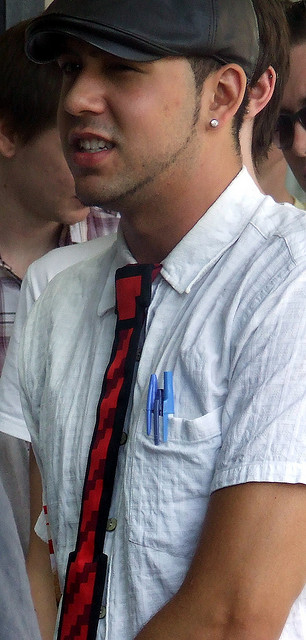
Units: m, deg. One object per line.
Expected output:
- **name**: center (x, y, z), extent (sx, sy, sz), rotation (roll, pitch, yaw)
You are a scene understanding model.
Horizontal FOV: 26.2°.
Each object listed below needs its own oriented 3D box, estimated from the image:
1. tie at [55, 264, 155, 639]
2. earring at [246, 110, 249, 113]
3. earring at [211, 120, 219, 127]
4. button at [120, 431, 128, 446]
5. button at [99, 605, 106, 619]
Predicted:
- **tie**: center (-0.062, 0.090, 1.340), extent (0.109, 0.036, 1.013), rotation (-14, 60, 43)
- **earring**: center (0.206, -0.458, 1.443), extent (0.003, 0.005, 0.016), rotation (12, 43, 13)
- **earring**: center (0.121, -0.390, 1.306), extent (0.016, 0.013, 0.009), rotation (-15, 43, -18)
- **button**: center (-0.057, 0.228, 1.261), extent (0.005, 0.022, 0.021), rotation (1, 11, 10)
- **button**: center (-0.092, 0.533, 1.196), extent (0.016, 0.017, 0.005), rotation (-10, -9, 38)
